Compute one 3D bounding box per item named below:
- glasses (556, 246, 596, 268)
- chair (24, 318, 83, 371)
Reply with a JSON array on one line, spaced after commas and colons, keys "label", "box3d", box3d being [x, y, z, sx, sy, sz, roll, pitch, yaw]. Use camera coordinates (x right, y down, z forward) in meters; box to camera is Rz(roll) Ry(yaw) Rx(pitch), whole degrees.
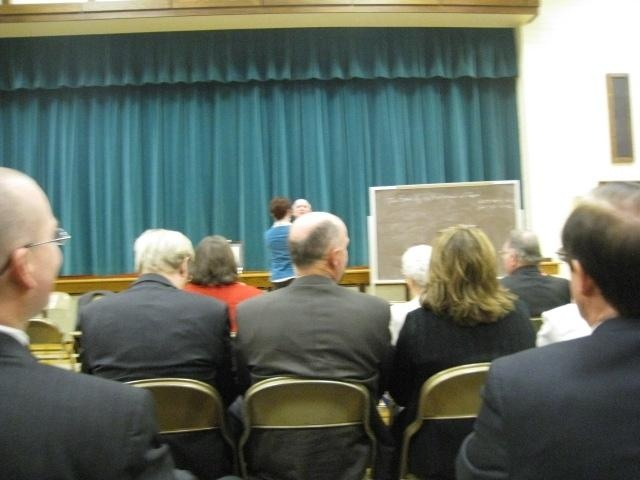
[{"label": "glasses", "box3d": [0.645, 0.041, 1.498, 0.051, 0.062, 0.070, 5, 11, 1]}, {"label": "chair", "box3d": [-1.223, 0.465, 2.793, 0.218, 0.238, 0.148, -35, -20, 21]}]
